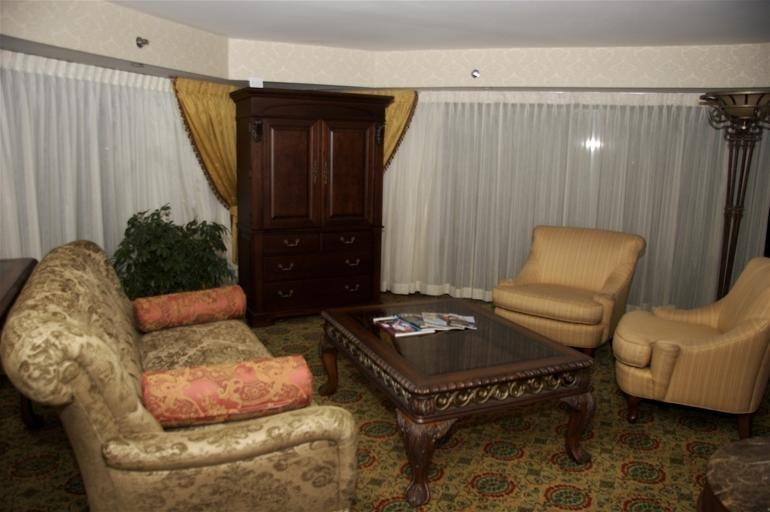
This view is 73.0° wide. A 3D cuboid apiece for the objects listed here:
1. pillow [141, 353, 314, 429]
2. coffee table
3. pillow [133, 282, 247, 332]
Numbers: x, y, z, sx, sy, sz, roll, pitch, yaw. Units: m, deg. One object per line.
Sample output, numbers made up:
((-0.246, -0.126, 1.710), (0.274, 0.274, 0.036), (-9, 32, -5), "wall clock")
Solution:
((-0.803, 0.700, 2.656), (0.783, 0.275, 0.357), (-4, 44, -16), "pillow")
((0.563, 0.915, 3.913), (1.546, 0.855, 1.572), (-8, 13, -24), "coffee table")
((-1.482, 0.409, 3.971), (0.740, 0.276, 0.328), (-6, 46, -26), "pillow")
